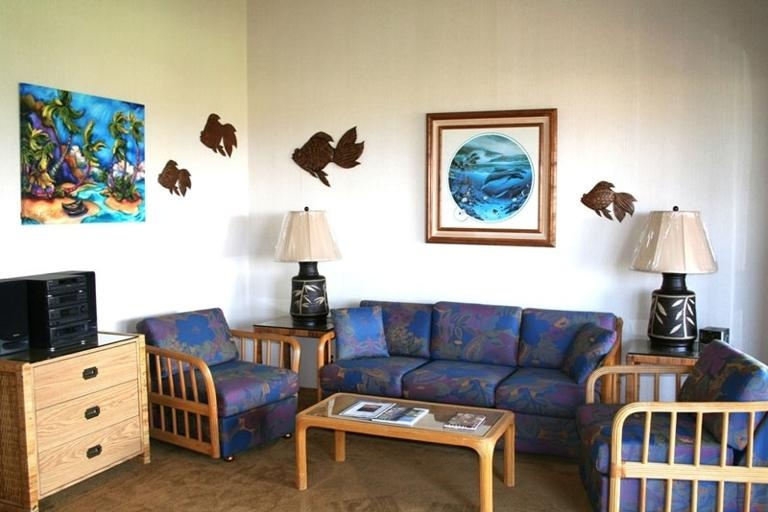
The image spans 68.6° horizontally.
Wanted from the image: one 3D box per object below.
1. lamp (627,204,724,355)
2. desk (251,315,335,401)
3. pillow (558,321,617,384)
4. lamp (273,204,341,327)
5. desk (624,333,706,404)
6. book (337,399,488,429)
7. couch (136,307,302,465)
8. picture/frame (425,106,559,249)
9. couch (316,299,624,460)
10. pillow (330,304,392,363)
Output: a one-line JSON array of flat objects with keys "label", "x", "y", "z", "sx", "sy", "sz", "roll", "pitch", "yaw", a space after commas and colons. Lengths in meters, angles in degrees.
[{"label": "lamp", "x": 2.159, "y": 0.157, "z": 4.623, "sx": 0.661, "sy": 1.087, "sz": 0.650, "roll": 0, "pitch": 0, "yaw": -7}, {"label": "desk", "x": -0.667, "y": 0.907, "z": 5.299, "sx": 0.682, "sy": 0.812, "sz": 0.679, "roll": 0, "pitch": 2, "yaw": 21}, {"label": "pillow", "x": 1.509, "y": 0.733, "z": 4.317, "sx": 0.120, "sy": 0.379, "sz": 0.387, "roll": 28, "pitch": -7, "yaw": -12}, {"label": "lamp", "x": -0.687, "y": 0.073, "z": 5.308, "sx": 0.469, "sy": 1.125, "sz": 0.525, "roll": -5, "pitch": 8, "yaw": -44}, {"label": "desk", "x": 2.115, "y": 1.005, "z": 4.402, "sx": 0.529, "sy": 0.488, "sz": 0.538, "roll": -2, "pitch": -7, "yaw": 21}, {"label": "book", "x": 0.200, "y": 1.073, "z": 3.846, "sx": 0.929, "sy": 0.033, "sz": 0.349, "roll": 3, "pitch": 11, "yaw": 15}, {"label": "couch", "x": -1.136, "y": 0.988, "z": 4.659, "sx": 1.208, "sy": 1.015, "sz": 1.102, "roll": 0, "pitch": 2, "yaw": 35}, {"label": "picture/frame", "x": 0.990, "y": -0.740, "z": 5.065, "sx": 1.381, "sy": 1.280, "sz": 0.101, "roll": 1, "pitch": 2, "yaw": 19}, {"label": "couch", "x": 0.660, "y": 0.960, "z": 4.791, "sx": 2.372, "sy": 0.888, "sz": 0.841, "roll": 1, "pitch": 11, "yaw": 29}, {"label": "pillow", "x": -0.208, "y": 0.672, "z": 4.935, "sx": 0.524, "sy": 0.412, "sz": 0.370, "roll": 2, "pitch": 8, "yaw": 1}]
